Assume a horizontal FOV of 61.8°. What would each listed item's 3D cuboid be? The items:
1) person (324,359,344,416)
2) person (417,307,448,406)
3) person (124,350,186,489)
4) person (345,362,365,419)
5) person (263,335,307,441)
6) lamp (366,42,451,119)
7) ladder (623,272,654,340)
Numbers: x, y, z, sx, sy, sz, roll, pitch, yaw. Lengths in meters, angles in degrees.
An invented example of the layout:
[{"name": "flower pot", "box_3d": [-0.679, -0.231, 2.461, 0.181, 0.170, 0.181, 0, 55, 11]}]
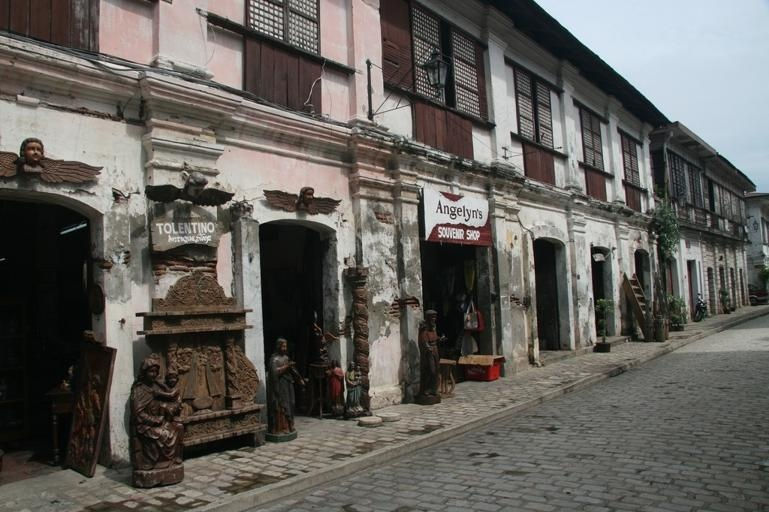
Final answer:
[{"name": "person", "box_3d": [-0.936, 2.626, 12.683, 0.354, 1.143, 0.266, -1, 6, -4]}, {"name": "person", "box_3d": [0.992, 2.155, 13.744, 0.490, 1.900, 0.662, 0, 6, 4]}, {"name": "person", "box_3d": [-3.582, 2.609, 10.145, 0.771, 1.873, 0.630, -3, 6, -21]}, {"name": "person", "box_3d": [-0.580, 2.632, 12.640, 0.341, 1.022, 0.243, -1, 6, -4]}, {"name": "person", "box_3d": [-1.836, 2.424, 11.655, 0.633, 1.695, 0.639, 2, 6, 22]}, {"name": "lamp", "box_3d": [0.484, -3.890, 14.313, 2.025, 1.355, 0.418, -23, 34, -25]}, {"name": "ladder", "box_3d": [8.619, 1.798, 21.593, 0.444, 1.885, 1.291, -16, -8, 25]}]
